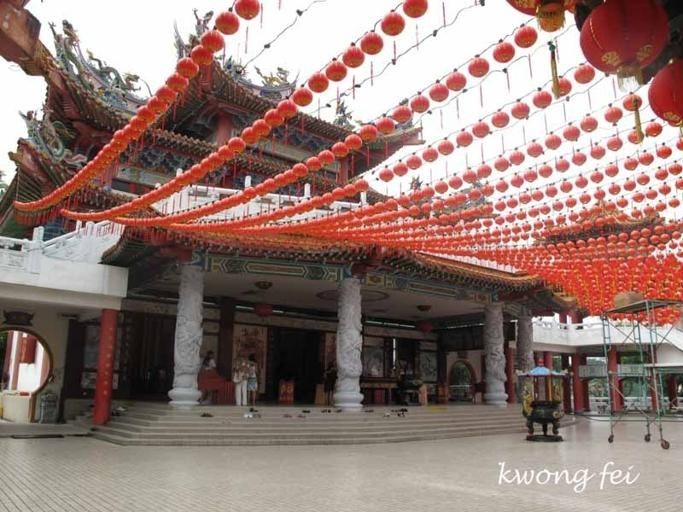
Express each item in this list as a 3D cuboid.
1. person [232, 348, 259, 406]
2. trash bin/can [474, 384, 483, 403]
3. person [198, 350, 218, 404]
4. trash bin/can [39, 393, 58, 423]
[{"bbox_3d":[-2.892,3.700,15.469,0.704,1.539,3.062,3,-14,-10],"label":"person"},{"bbox_3d":[6.069,6.151,23.124,0.376,0.805,0.672,-7,-15,29],"label":"trash bin/can"},{"bbox_3d":[-3.912,3.566,15.091,0.543,1.501,1.295,5,-14,-15],"label":"person"},{"bbox_3d":[-8.745,4.567,15.363,0.514,0.815,0.335,1,-14,1],"label":"trash bin/can"}]
